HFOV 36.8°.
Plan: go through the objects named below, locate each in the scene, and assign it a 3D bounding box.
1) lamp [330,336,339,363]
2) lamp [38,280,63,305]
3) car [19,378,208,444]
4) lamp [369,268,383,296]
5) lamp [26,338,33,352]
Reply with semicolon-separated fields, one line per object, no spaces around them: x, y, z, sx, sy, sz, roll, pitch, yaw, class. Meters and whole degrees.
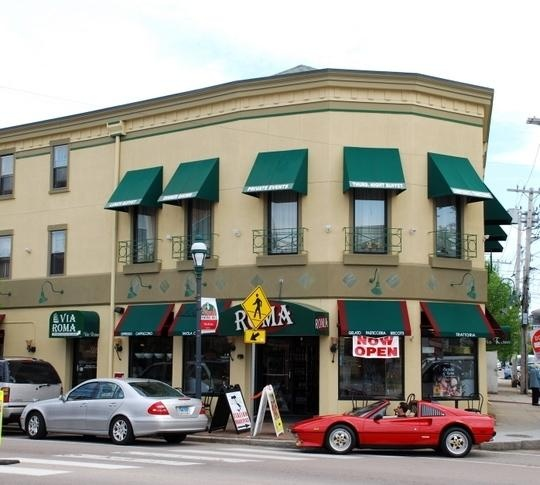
1.798;3.013;22.971;0.223;0.652;0.205;2;-1;0;lamp
-7.590;1.709;28.009;1.103;0.874;0.262;3;0;35;lamp
-3.808;4.178;19.794;4.397;1.626;1.168;3;0;24;car
3.018;1.092;23.176;0.400;0.691;0.149;2;-1;7;lamp
-8.275;3.568;28.193;0.393;0.475;0.138;2;0;23;lamp
